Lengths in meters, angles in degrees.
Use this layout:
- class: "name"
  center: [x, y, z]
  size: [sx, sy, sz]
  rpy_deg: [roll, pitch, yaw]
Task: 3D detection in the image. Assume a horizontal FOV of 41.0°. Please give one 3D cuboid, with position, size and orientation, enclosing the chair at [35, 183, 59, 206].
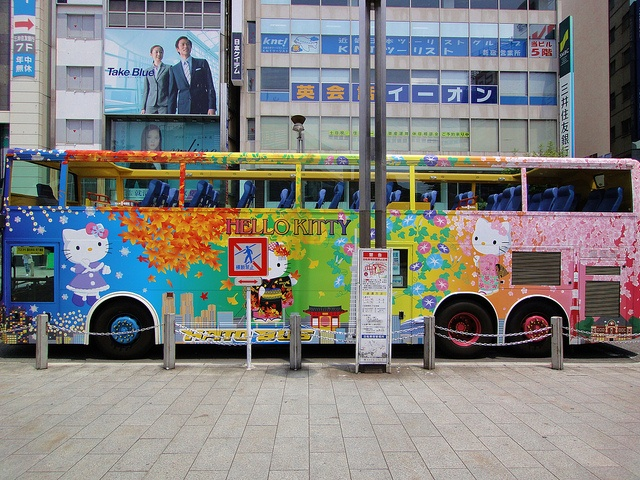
- class: "chair"
  center: [-9.330, -1.493, 29.062]
  size: [0.645, 1.000, 1.059]
  rpy_deg: [0, 2, 15]

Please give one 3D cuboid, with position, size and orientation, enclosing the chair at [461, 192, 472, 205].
- class: "chair"
  center: [5.111, -1.437, 29.925]
  size: [0.443, 0.531, 0.397]
  rpy_deg: [1, -1, -10]
